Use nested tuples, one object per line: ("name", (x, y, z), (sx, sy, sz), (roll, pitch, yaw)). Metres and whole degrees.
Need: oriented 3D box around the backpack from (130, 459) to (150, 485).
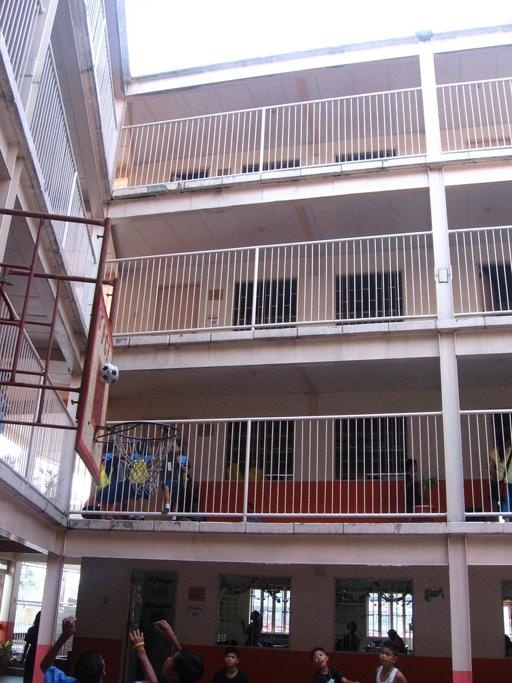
("backpack", (-1.627, 1.843, 7.060), (0.266, 0.351, 0.189), (7, -28, -5))
